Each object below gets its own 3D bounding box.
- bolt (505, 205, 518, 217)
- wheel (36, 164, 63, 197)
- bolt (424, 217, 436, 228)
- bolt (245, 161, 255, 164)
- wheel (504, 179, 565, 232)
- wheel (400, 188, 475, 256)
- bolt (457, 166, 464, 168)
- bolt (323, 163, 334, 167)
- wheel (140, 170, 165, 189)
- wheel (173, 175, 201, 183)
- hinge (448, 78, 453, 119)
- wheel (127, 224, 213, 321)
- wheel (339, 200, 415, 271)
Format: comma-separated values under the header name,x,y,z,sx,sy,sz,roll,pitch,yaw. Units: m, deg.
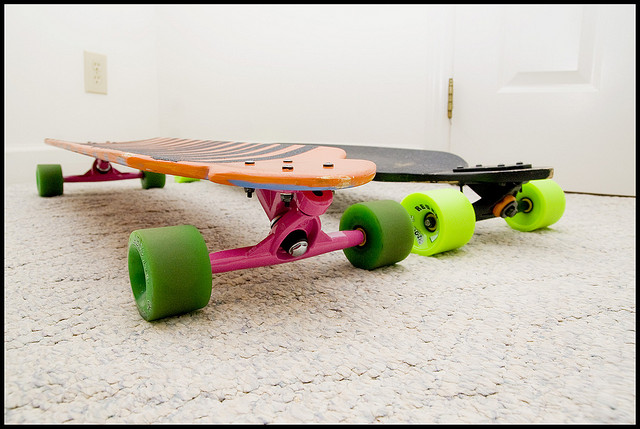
name,x,y,z,sx,sy,sz,roll,pitch,yaw
bolt,0.831,-0.011,1.921,0.037,0.012,0.052,-18,15,-7
wheel,-1.567,-0.207,2.571,0.126,0.220,0.228,-5,5,-32
bolt,0.460,0.033,1.848,0.014,0.039,0.036,-7,13,-44
bolt,-0.233,-0.171,1.456,0.024,0.005,0.024,4,5,39
wheel,1.038,-0.051,2.195,0.293,0.237,0.258,-10,10,-40
wheel,0.493,0.033,1.907,0.202,0.278,0.284,-7,5,-35
bolt,0.695,-0.235,2.189,0.015,0.008,0.052,-2,10,-6
bolt,0.024,-0.155,1.406,0.029,0.010,0.023,1,9,-7
wheel,-0.990,-0.206,2.604,0.103,0.142,0.146,-2,12,-21
wheel,-0.929,-0.243,3.104,0.166,0.048,0.379,-2,9,-24
hinge,0.880,-0.789,2.992,0.035,0.262,0.026,-5,12,-35
wheel,-0.486,0.142,1.502,0.263,0.363,0.381,-5,4,-36
wheel,0.221,0.079,1.753,0.187,0.248,0.255,-8,8,-36
